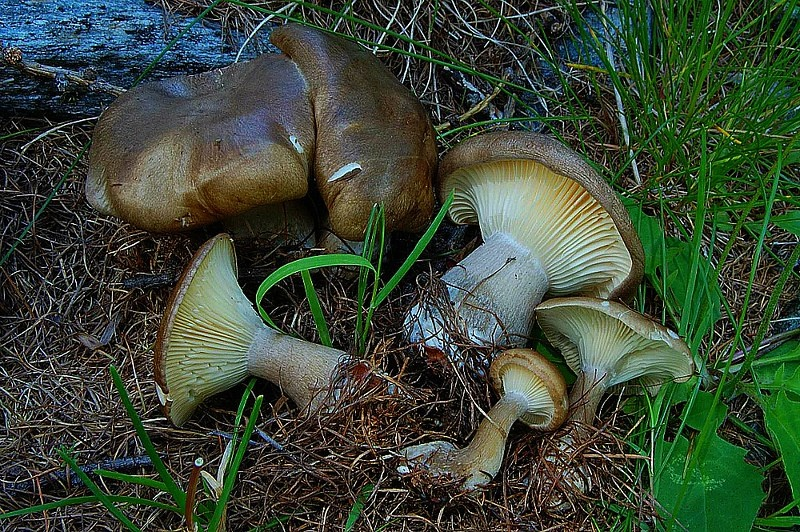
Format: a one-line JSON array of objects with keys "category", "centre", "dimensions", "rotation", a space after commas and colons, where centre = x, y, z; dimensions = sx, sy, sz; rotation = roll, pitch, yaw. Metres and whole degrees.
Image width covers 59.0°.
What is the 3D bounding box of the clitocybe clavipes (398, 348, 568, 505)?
[{"category": "clitocybe clavipes", "centre": [0.463, 0.816, 3.663], "dimensions": [0.900, 0.372, 0.518], "rotation": [-36, 99, -12]}]
